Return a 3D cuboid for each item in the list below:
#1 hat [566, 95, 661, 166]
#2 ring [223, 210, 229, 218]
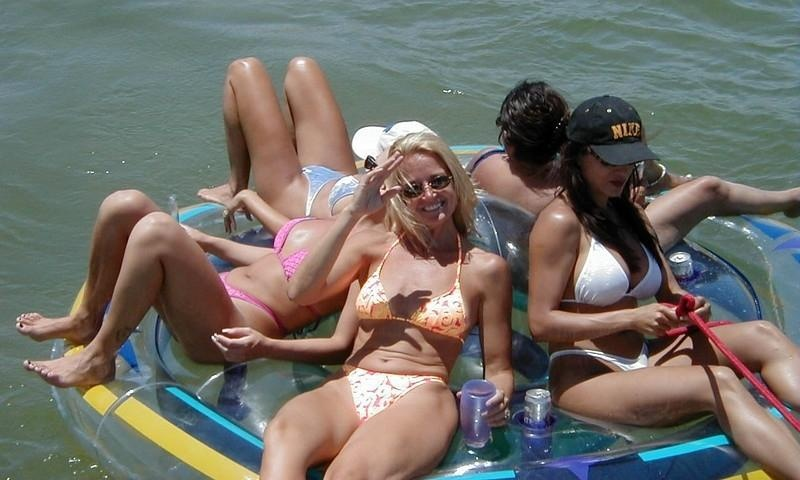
[{"bbox_3d":[1.588,-0.797,5.941,0.624,0.388,0.424,26,44,33],"label":"hat"},{"bbox_3d":[-1.614,-0.246,7.475,0.061,0.073,0.028,12,23,12],"label":"ring"}]
